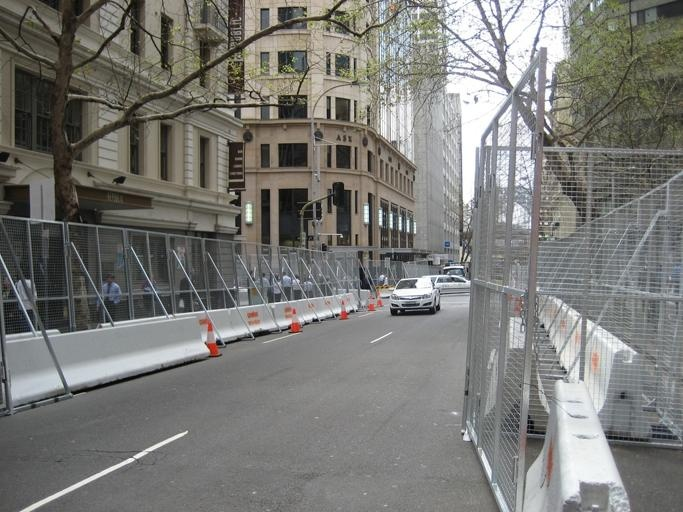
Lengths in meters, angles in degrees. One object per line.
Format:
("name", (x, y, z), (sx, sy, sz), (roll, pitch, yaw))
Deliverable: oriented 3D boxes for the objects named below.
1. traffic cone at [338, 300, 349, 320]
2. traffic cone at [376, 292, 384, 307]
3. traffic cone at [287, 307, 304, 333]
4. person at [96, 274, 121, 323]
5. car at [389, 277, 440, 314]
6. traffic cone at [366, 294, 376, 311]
("traffic cone", (0.163, 2.494, 29.097), (0.484, 0.816, 0.531), (-3, 0, -13))
("traffic cone", (2.385, 2.653, 39.008), (0.557, 0.938, 0.632), (-3, 0, -8))
("traffic cone", (-1.591, 2.231, 22.442), (0.576, 1.016, 0.629), (-2, 4, -8))
("person", (-5.353, 0.962, 14.948), (0.313, 1.077, 0.914), (-1, 1, -4))
("car", (3.565, 1.892, 31.013), (2.159, 1.543, 4.929), (-1, 1, 8))
("traffic cone", (1.655, 2.586, 35.464), (0.584, 1.018, 0.662), (-2, 0, -4))
